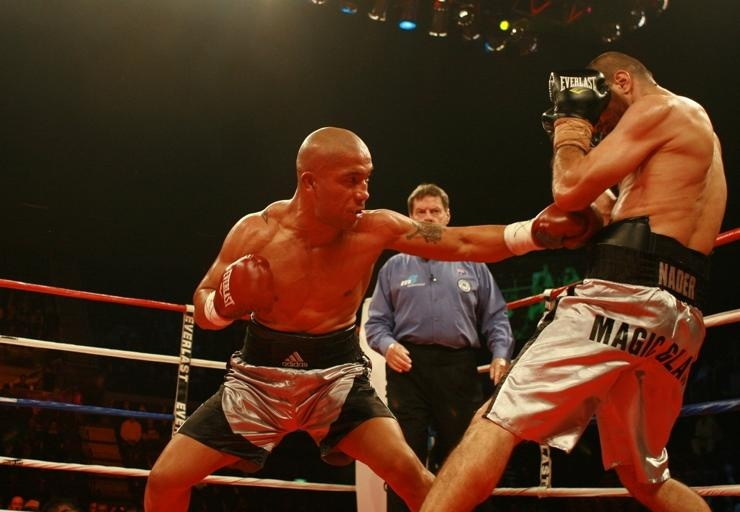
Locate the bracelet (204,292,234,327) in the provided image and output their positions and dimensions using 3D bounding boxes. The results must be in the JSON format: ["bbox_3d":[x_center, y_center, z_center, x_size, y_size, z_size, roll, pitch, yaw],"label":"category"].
[{"bbox_3d":[-1.024,0.374,4.912,0.209,0.173,0.226,14,15,-5],"label":"bracelet"}]

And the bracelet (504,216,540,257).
[{"bbox_3d":[0.980,-0.137,4.942,0.233,0.246,0.191,31,21,-2],"label":"bracelet"}]

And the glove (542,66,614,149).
[{"bbox_3d":[1.325,-1.032,5.083,0.516,0.608,0.465,0,-3,-2],"label":"glove"}]
